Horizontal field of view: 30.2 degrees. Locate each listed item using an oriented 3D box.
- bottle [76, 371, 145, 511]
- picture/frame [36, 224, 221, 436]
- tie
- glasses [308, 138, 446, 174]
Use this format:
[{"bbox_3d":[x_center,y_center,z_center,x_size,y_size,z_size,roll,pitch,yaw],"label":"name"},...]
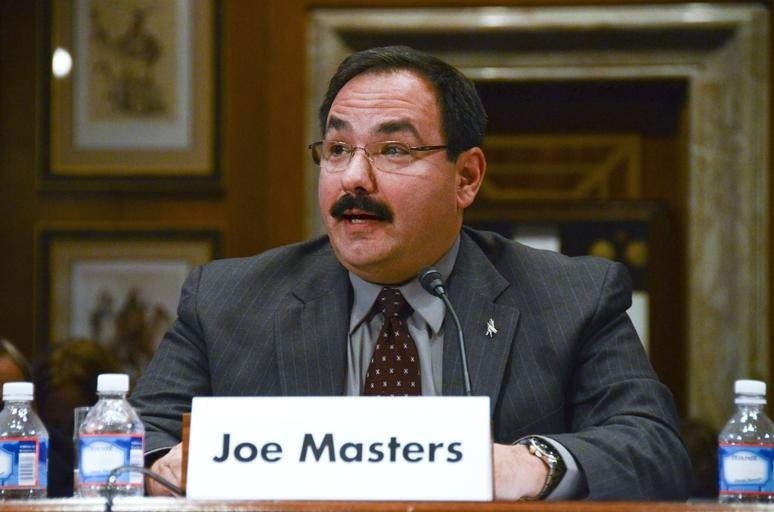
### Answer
[{"bbox_3d":[-0.867,0.555,4.468,0.209,0.407,0.354,2,-12,-10],"label":"bottle"},{"bbox_3d":[-1.036,0.297,5.817,0.772,1.011,0.048,1,-37,-13],"label":"picture/frame"},{"bbox_3d":[0.009,0.295,4.935,0.169,0.055,0.467,1,-58,6],"label":"tie"},{"bbox_3d":[-0.009,-0.344,4.964,0.439,0.116,0.073,0,-12,-3],"label":"glasses"}]
